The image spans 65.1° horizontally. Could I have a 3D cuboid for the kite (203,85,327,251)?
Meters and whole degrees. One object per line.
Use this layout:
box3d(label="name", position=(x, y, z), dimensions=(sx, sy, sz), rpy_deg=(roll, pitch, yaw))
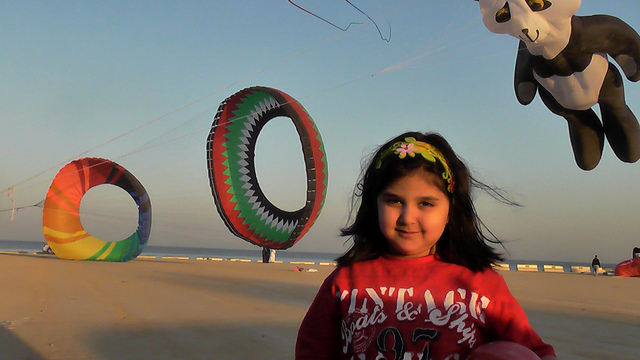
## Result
box3d(label="kite", position=(-1.934, -0.383, 20.292), dimensions=(2.338, 6.319, 4.892), rpy_deg=(1, 23, -24))
